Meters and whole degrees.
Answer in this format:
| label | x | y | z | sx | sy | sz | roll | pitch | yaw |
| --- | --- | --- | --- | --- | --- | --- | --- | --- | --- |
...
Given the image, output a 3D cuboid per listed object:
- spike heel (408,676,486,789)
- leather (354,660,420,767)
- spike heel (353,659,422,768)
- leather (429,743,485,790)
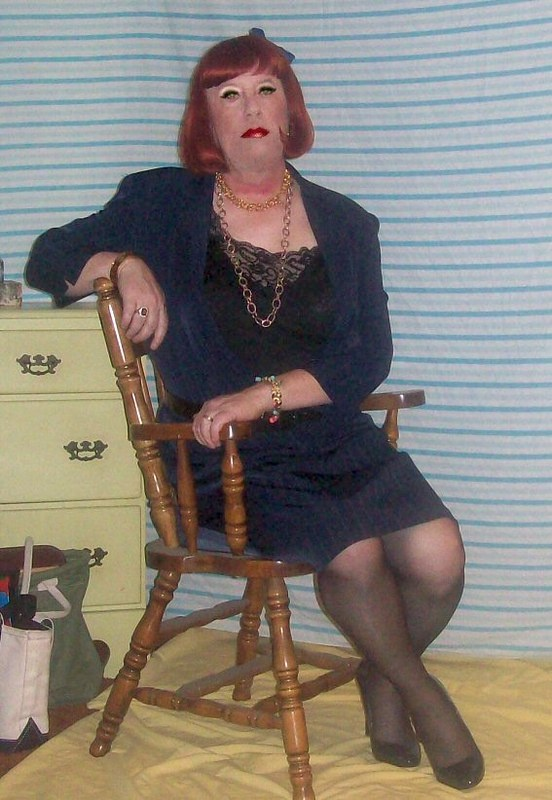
| label | x | y | z | sx | sy | sz | roll | pitch | yaw |
| --- | --- | --- | --- | --- | --- | --- | --- | --- | --- |
| spike heel | 0.314 | 0.626 | 1.643 | 0.124 | 0.093 | 0.292 | -5 | 13 | -13 |
| leather | 0.222 | 0.621 | 1.647 | 0.099 | 0.237 | 0.097 | -5 | 35 | 5 |
| spike heel | 0.222 | 0.645 | 1.674 | 0.100 | 0.231 | 0.102 | -7 | 16 | 4 |
| leather | 0.343 | 0.685 | 1.579 | 0.087 | 0.058 | 0.090 | -13 | 0 | -23 |
